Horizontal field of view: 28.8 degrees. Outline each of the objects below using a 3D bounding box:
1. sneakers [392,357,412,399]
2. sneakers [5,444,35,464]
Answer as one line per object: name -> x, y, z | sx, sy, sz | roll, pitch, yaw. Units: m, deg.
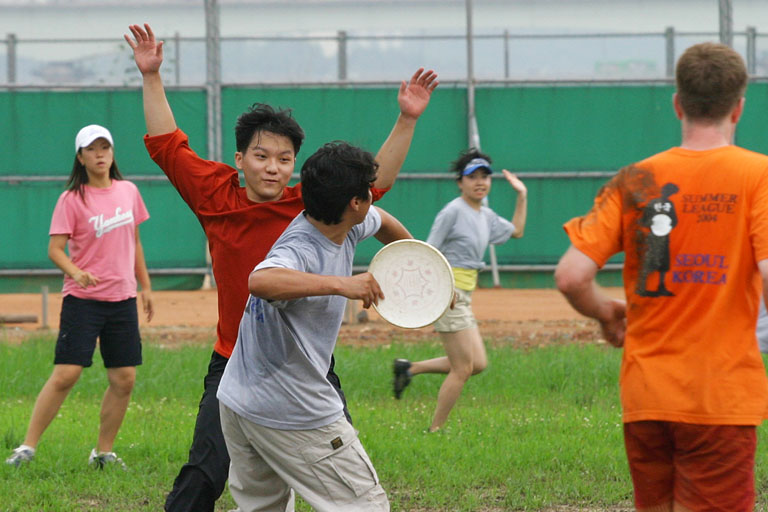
sneakers -> 0.262, 1.854, 22.619 | 0.285, 0.625, 0.221 | 5, 10, -4
sneakers -> -4.992, 2.764, 20.764 | 0.166, 0.360, 0.198 | 32, 24, -47
